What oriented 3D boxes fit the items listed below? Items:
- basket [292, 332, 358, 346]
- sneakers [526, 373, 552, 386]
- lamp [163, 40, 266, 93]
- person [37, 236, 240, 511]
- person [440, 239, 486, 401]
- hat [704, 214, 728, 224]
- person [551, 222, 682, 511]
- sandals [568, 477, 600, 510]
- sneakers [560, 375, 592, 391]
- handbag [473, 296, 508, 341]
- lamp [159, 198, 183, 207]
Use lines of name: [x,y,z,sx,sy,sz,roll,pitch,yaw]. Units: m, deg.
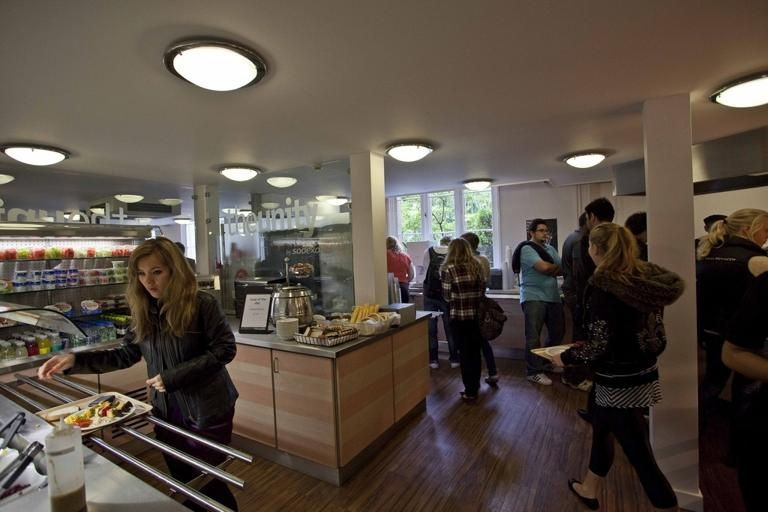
basket: [-0.432,0.644,3.848,0.497,0.079,0.230,-5,3,-12]
sneakers: [1.685,1.328,5.293,0.212,0.081,0.102,-3,-2,37]
lamp: [-1.038,-1.187,3.054,0.595,0.216,0.269,-5,3,-18]
person: [-1.410,0.770,3.163,0.924,1.462,0.329,-4,3,12]
person: [0.834,0.628,4.922,0.431,1.608,0.259,-4,3,9]
hat: [3.089,-0.339,4.539,0.162,0.075,0.194,-1,-5,-5]
person: [1.604,0.694,3.244,0.693,1.826,0.351,-3,4,31]
sandals: [1.448,1.702,3.547,0.090,0.099,0.238,-5,10,-15]
sneakers: [2.020,1.344,5.136,0.101,0.121,0.291,4,-12,-40]
handbag: [1.035,0.624,4.981,0.375,0.538,0.420,5,-4,9]
lamp: [-2.668,-0.673,6.137,0.067,0.087,0.351,-4,3,16]
